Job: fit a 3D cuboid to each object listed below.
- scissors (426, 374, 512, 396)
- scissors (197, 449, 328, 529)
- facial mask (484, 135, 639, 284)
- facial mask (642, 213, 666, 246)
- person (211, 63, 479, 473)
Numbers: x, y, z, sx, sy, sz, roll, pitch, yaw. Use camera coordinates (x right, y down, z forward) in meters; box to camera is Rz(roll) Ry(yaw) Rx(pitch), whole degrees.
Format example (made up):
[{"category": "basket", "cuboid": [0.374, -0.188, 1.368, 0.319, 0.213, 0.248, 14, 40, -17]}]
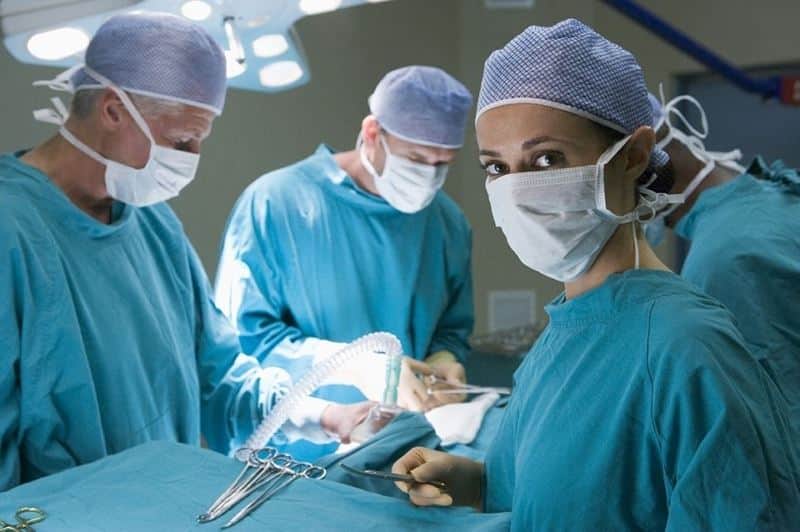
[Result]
[{"category": "scissors", "cuboid": [0.243, 0.433, 3.503, 0.220, 0.055, 0.048, 7, -26, -2]}, {"category": "scissors", "cuboid": [-0.394, 0.618, 2.749, 0.163, 0.037, 0.298, 9, 22, 20]}, {"category": "facial mask", "cuboid": [0.524, -0.183, 2.858, 0.466, 0.387, 0.479, -8, 13, 34]}, {"category": "facial mask", "cuboid": [0.847, -0.125, 3.247, 0.066, 0.106, 0.041, -16, -44, 36]}, {"category": "person", "cuboid": [-0.225, 0.024, 3.759, 0.937, 1.460, 0.837, 1, -8, -7]}]
